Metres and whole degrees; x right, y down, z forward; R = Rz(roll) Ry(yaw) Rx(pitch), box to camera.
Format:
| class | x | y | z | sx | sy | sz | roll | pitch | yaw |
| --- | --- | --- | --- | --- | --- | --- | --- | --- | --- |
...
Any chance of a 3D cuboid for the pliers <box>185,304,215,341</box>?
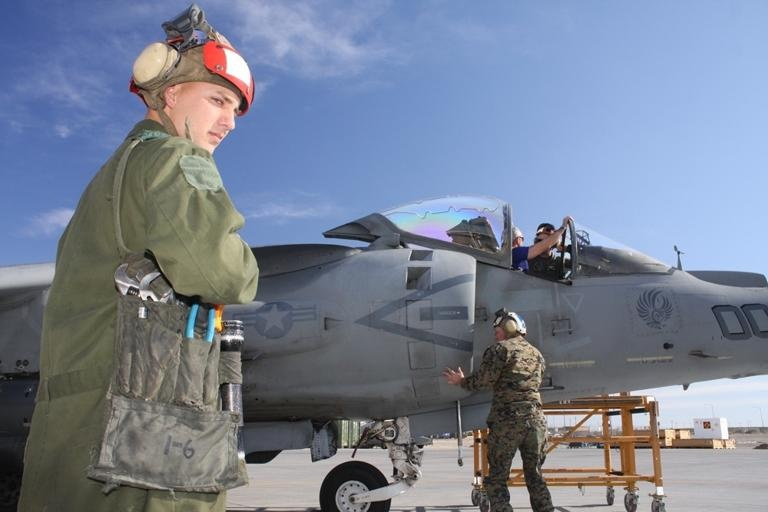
| class | x | y | z | sx | sy | sz | roll | pitch | yaw |
| --- | --- | --- | --- | --- | --- | --- | --- | --- | --- |
| pliers | -0.894 | 0.318 | 3.151 | 0.119 | 0.185 | 0.025 | 11 | -20 | -12 |
